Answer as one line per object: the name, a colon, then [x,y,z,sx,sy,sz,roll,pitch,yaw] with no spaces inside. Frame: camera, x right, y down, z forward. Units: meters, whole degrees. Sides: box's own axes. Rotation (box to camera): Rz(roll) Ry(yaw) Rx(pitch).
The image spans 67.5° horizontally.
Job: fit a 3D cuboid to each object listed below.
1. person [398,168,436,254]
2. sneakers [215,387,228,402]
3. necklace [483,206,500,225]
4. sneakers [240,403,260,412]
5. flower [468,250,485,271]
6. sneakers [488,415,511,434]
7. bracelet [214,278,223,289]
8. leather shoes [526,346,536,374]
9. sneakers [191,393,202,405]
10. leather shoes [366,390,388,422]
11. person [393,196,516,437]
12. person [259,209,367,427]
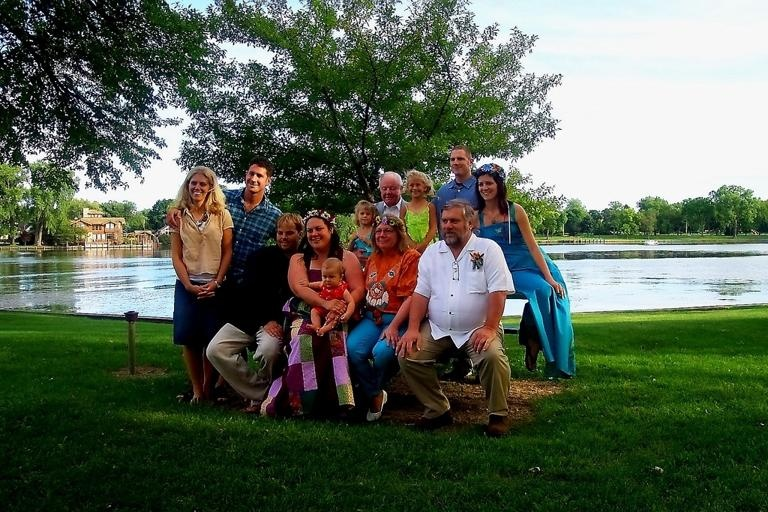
person: [0.533,-0.471,8.672,0.609,1.597,0.663,-1,16,15]
sneakers: [-2.188,1.861,7.800,0.139,0.131,0.139,-4,3,-44]
necklace: [1.499,-0.550,7.919,0.236,0.213,0.135,-4,-15,21]
sneakers: [-1.675,1.908,7.256,0.248,0.096,0.087,3,-9,-4]
flower: [1.109,0.056,6.807,0.077,0.182,0.183,-3,-20,-47]
sneakers: [1.307,1.918,6.595,0.248,0.192,0.238,2,9,9]
bracelet: [-2.115,0.354,7.383,0.086,0.104,0.040,9,-1,-40]
leather shoes: [1.983,1.413,7.718,0.170,0.428,0.112,-2,12,-9]
sneakers: [-2.435,1.871,7.515,0.109,0.100,0.112,9,-14,-36]
leather shoes: [-0.061,1.867,7.101,0.121,0.421,0.165,17,5,-44]
person: [0.848,0.681,6.792,1.293,2.625,0.803,2,10,12]
person: [-0.869,0.703,7.174,1.184,2.462,0.885,1,10,7]
